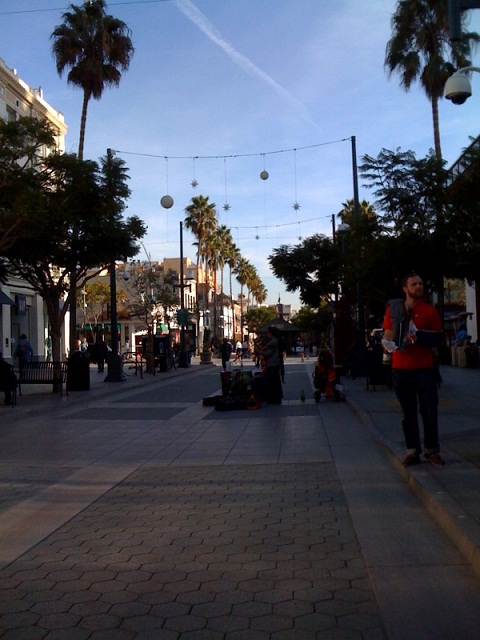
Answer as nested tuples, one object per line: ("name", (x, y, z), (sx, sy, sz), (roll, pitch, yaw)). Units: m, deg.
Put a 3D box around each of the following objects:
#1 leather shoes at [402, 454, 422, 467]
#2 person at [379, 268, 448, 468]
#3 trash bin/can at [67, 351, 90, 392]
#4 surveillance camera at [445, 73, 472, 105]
("leather shoes", (1.601, 1.303, 5.822), (0.135, 0.101, 0.052), (-1, 24, -29))
("person", (1.590, 0.458, 5.715), (0.525, 1.142, 0.575), (-3, -2, 15))
("trash bin/can", (-4.785, 1.528, 18.496), (0.605, 1.193, 0.594), (-2, -2, -12))
("surveillance camera", (2.730, -2.901, 7.858), (0.284, 0.526, 0.490), (-3, -2, 19))
